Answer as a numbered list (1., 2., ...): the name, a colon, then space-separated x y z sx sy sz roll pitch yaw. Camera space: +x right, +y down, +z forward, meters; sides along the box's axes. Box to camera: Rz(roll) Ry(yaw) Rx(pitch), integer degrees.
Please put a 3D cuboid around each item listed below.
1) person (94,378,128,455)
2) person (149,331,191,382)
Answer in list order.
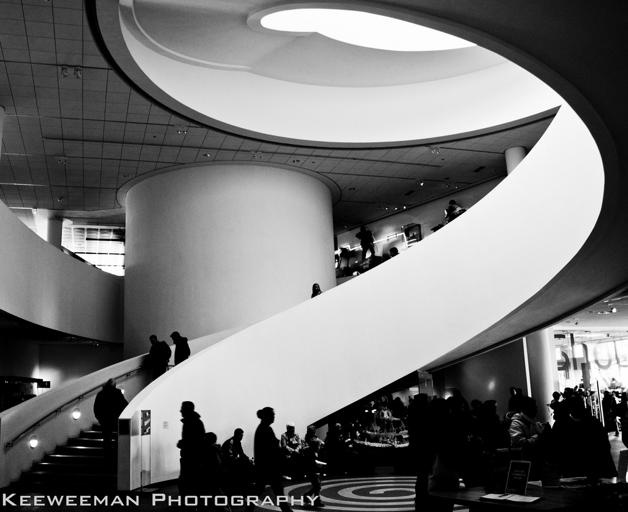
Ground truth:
1. person: -4.455 3.473 12.021 0.610 1.529 0.438 -7 -15 19
2. person: -3.994 2.666 15.028 1.233 1.210 0.913 -4 -15 5
